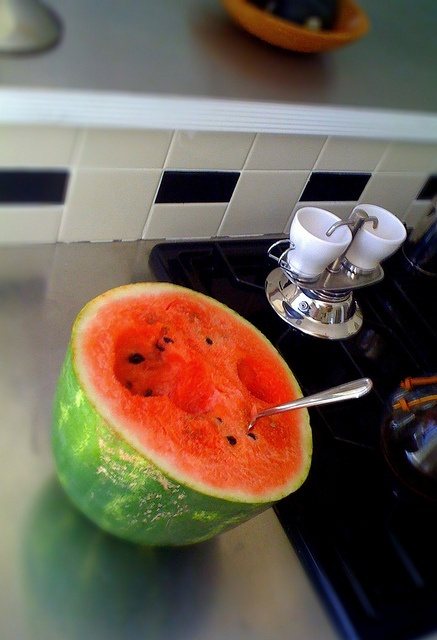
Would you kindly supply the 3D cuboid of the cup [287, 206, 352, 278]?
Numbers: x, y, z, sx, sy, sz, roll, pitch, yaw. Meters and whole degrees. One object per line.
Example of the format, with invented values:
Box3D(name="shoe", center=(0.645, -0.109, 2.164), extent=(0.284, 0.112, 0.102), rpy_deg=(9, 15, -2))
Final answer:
Box3D(name="cup", center=(0.126, -0.099, 0.687), extent=(0.080, 0.071, 0.086), rpy_deg=(15, 43, -15))
